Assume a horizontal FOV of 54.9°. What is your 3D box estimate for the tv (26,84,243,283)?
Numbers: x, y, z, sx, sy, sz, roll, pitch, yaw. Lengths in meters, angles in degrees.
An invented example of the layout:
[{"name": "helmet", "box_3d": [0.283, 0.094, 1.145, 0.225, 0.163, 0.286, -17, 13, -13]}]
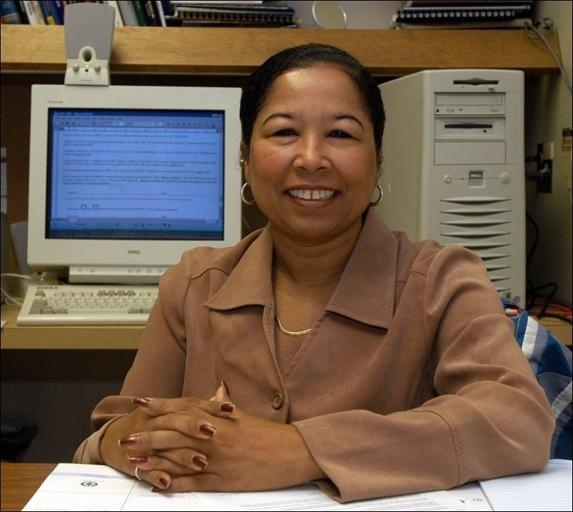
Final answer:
[{"name": "tv", "box_3d": [-0.400, -0.227, 1.728, 0.741, 0.764, 0.448, 0, -5, -2]}]
